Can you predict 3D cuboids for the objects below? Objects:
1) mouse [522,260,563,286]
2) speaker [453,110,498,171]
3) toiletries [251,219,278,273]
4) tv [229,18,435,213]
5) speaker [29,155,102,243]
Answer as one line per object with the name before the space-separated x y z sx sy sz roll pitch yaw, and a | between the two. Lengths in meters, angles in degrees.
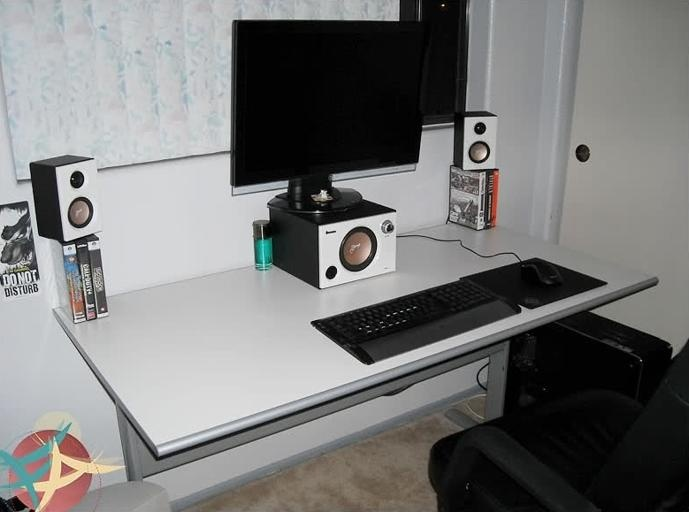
mouse | 0.703 0.059 1.890 0.082 0.045 0.111 -16 33 -25
speaker | 0.622 -0.485 2.391 0.149 0.229 0.123 3 3 34
toiletries | -0.297 -0.037 2.025 0.082 0.223 0.103 7 26 12
tv | -0.085 -0.537 2.014 0.764 0.685 0.316 -12 35 -28
speaker | -0.843 -0.175 1.627 0.140 0.284 0.158 17 25 24
